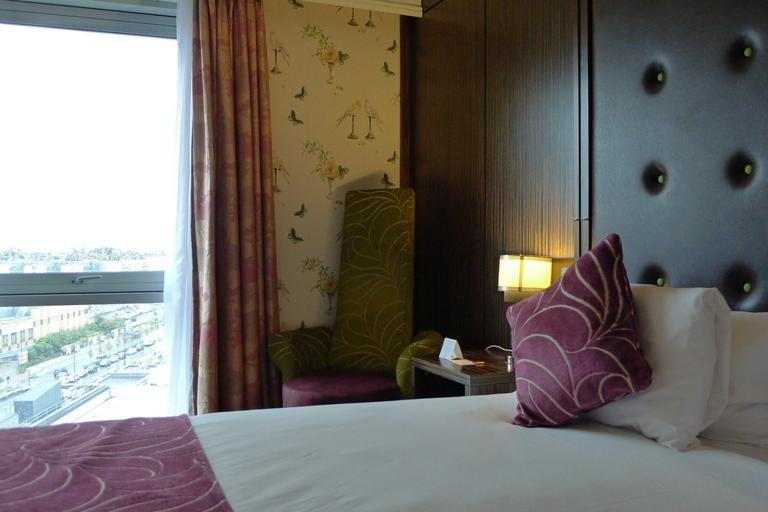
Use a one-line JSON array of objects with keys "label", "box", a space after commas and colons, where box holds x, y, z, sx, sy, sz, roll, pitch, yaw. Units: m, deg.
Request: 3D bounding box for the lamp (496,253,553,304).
[{"label": "lamp", "box": [0.737, 0.111, 2.947, 0.233, 0.227, 0.243, 0, -1, 3]}]

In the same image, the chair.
[{"label": "chair", "box": [-0.161, 0.210, 3.646, 1.036, 1.246, 1.018, 6, 11, 36]}]
